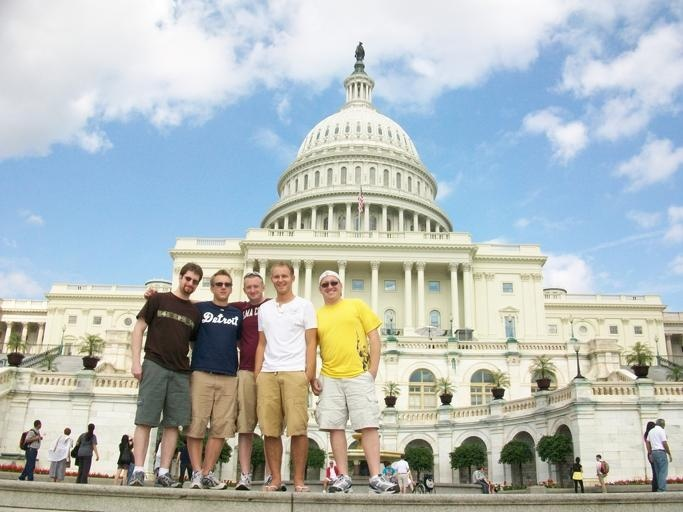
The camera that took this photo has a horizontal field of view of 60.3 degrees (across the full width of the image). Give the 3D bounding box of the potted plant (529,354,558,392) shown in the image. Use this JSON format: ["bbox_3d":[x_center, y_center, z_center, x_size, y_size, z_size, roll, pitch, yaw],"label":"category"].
[{"bbox_3d":[14.407,8.269,41.705,1.532,2.140,1.751,-2,-3,14],"label":"potted plant"}]

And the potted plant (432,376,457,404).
[{"bbox_3d":[7.477,9.664,41.863,1.767,2.330,1.878,-2,-26,5],"label":"potted plant"}]

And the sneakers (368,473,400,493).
[{"bbox_3d":[0.613,3.220,8.287,0.412,0.192,0.187,-12,-19,38],"label":"sneakers"}]

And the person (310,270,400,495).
[{"bbox_3d":[0.136,2.004,8.742,1.089,2.838,0.552,-1,-21,4],"label":"person"}]

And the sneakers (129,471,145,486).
[{"bbox_3d":[-2.893,3.169,8.348,0.173,0.188,0.382,5,-22,-13],"label":"sneakers"}]

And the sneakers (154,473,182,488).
[{"bbox_3d":[-2.542,3.290,8.653,0.530,0.240,0.218,-5,-20,23],"label":"sneakers"}]

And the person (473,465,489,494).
[{"bbox_3d":[6.014,9.621,25.085,0.636,0.898,2.442,-5,-22,12],"label":"person"}]

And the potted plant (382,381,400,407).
[{"bbox_3d":[3.500,9.693,40.692,1.384,1.874,1.482,0,-31,5],"label":"potted plant"}]

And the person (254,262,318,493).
[{"bbox_3d":[-0.859,1.720,9.026,0.872,3.538,1.079,16,-26,-37],"label":"person"}]

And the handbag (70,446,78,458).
[{"bbox_3d":[-8.124,6.012,17.897,0.189,0.356,0.983,9,-23,-22],"label":"handbag"}]
